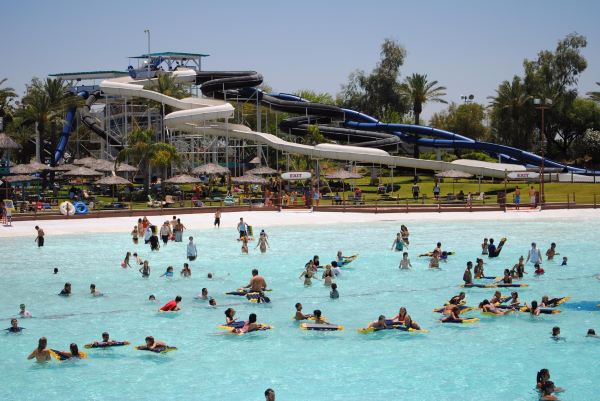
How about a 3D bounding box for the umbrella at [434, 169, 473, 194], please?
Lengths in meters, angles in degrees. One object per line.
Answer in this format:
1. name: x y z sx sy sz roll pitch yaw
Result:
1. umbrella: 13.921 -2.285 73.654 2.321 0.976 4.296 4 9 22
